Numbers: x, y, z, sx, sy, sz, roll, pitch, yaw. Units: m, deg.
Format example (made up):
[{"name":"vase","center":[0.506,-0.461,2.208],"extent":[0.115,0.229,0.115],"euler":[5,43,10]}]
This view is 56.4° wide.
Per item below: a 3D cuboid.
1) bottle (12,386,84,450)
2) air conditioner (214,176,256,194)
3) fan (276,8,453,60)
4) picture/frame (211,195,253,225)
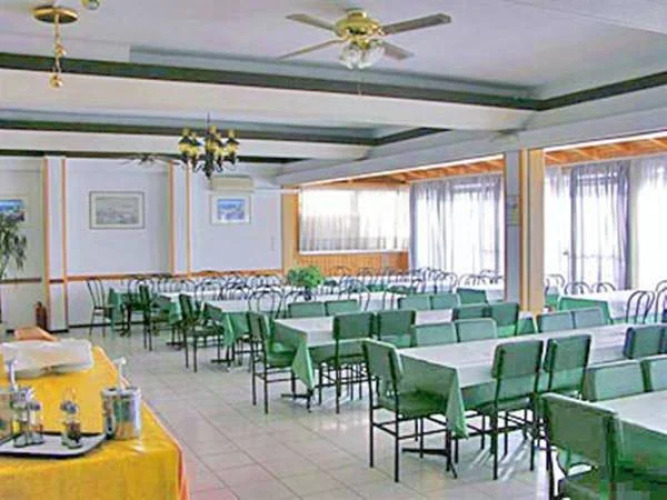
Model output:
[{"name":"bottle","center":[-1.474,0.875,3.203],"extent":[0.290,0.238,0.148],"euler":[0,3,4]},{"name":"air conditioner","center":[-2.389,-1.587,14.865],"extent":[0.976,0.337,1.405],"euler":[-2,2,-9]},{"name":"fan","center":[0.282,-2.045,5.807],"extent":[0.808,0.222,0.824],"euler":[-2,-2,40]},{"name":"picture/frame","center":[-2.635,-1.029,15.885],"extent":[0.875,0.549,0.034],"euler":[-3,10,-28]}]
